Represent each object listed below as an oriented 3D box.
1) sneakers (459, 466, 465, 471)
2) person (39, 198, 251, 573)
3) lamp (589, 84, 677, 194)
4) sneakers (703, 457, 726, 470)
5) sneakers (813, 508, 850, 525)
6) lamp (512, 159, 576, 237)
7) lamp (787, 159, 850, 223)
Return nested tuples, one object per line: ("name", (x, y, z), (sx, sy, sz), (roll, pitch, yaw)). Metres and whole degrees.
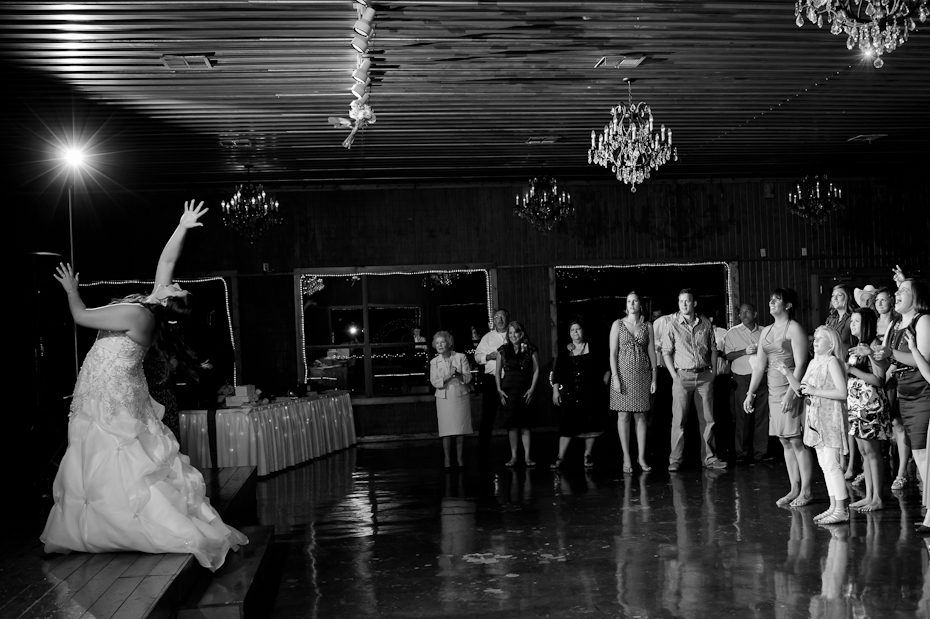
("sneakers", (-0.038, 1.980, 11.509), (0.065, 0.041, 0.214), (-3, -2, -3))
("person", (-2.610, 0.526, 7.434), (1.364, 2.846, 1.140), (1, -2, -10))
("lamp", (1.956, -2.137, 10.609), (0.824, 1.594, 0.885), (-2, 0, 39))
("sneakers", (3.018, 1.843, 10.955), (0.225, 0.128, 0.121), (-1, -3, 14))
("sneakers", (3.407, 1.894, 8.442), (0.361, 0.180, 0.133), (-1, -3, 8))
("lamp", (1.254, -1.698, 14.270), (0.812, 1.147, 0.843), (-3, -3, 35))
("lamp", (5.843, -1.927, 15.339), (0.798, 1.268, 0.831), (3, -9, -19))
